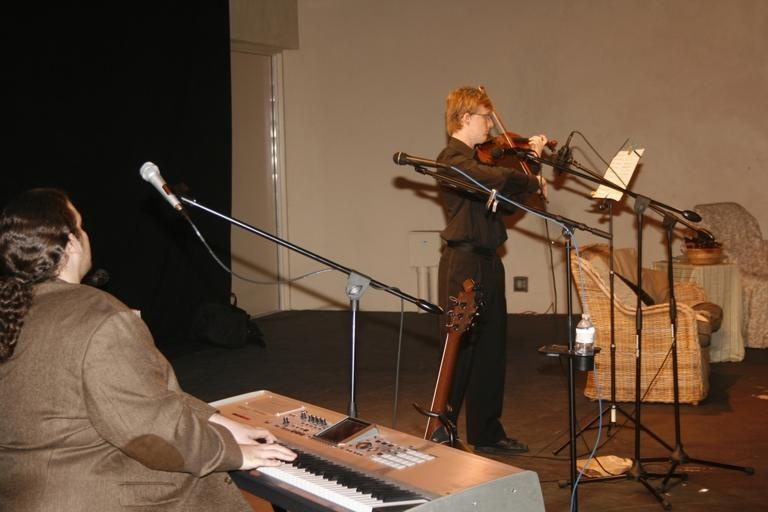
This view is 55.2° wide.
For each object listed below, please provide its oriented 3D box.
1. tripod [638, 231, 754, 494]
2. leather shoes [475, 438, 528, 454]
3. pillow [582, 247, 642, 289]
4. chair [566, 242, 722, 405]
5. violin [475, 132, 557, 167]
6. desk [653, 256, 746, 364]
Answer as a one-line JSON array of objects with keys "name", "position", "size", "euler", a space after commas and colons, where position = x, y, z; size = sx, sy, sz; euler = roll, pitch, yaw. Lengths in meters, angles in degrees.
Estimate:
[{"name": "tripod", "position": [1.860, 0.504, 4.550], "size": [0.586, 1.493, 1.055], "euler": [-1, 10, 5]}, {"name": "leather shoes", "position": [0.734, 1.200, 4.680], "size": [0.338, 0.113, 0.121], "euler": [-3, 1, 5]}, {"name": "pillow", "position": [1.909, 0.069, 6.078], "size": [0.371, 0.192, 0.462], "euler": [1, 4, -1]}, {"name": "chair", "position": [2.219, 0.476, 6.067], "size": [1.054, 1.005, 1.681], "euler": [2, 7, 30]}, {"name": "violin", "position": [0.822, -0.718, 4.918], "size": [0.632, 0.153, 0.311], "euler": [-4, 8, -11]}, {"name": "desk", "position": [2.763, 0.488, 6.895], "size": [0.832, 0.981, 0.851], "euler": [-1, 2, 18]}]
